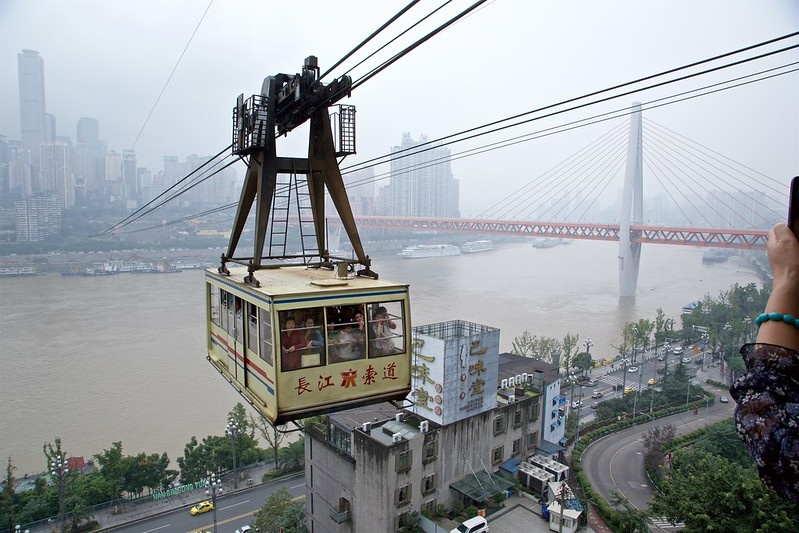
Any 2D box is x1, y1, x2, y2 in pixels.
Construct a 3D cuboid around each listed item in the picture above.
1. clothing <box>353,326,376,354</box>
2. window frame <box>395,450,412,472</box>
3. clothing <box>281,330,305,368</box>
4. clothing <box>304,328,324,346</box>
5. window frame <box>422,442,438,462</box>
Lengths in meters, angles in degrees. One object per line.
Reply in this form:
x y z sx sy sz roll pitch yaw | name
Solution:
-1.254 2.737 20.404 0.913 0.830 0.217 0 -2 -18 | clothing
0.170 11.044 32.366 0.199 1.185 1.474 0 0 41 | window frame
-3.809 2.909 19.880 1.040 1.364 0.671 -2 2 -7 | clothing
-3.043 2.433 20.218 0.882 0.621 0.515 0 -3 -24 | clothing
1.758 10.929 33.463 0.275 1.028 1.010 3 1 45 | window frame
